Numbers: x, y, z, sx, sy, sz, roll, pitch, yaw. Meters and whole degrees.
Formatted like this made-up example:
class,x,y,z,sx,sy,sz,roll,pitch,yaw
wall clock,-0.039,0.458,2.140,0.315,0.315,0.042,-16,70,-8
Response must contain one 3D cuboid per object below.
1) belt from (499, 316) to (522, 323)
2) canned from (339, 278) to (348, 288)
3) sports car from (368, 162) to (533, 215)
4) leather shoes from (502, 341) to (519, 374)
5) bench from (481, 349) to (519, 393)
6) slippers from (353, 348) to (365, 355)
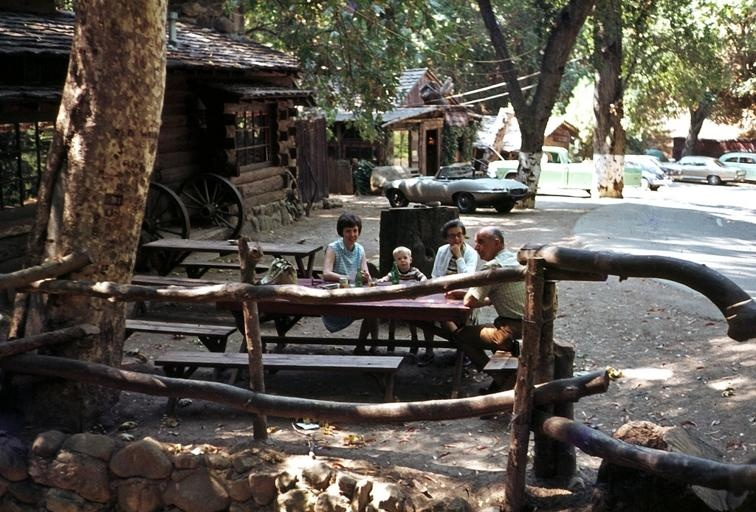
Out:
class,x,y,z,sx,sy,sz,roll,pitch,yaw
belt,1.441,0.691,7.730,0.291,0.062,0.060,7,10,35
canned,-0.413,0.308,8.216,0.100,0.091,0.097,0,-1,-8
sports car,2.478,-2.208,22.482,4.421,1.494,1.079,8,11,38
leather shoes,1.401,1.077,7.386,0.139,0.077,0.322,-1,13,-1
bench,1.296,1.211,7.375,0.269,0.148,0.631,-1,11,2
slippers,-0.242,1.239,8.890,0.105,0.101,0.075,3,28,-4
